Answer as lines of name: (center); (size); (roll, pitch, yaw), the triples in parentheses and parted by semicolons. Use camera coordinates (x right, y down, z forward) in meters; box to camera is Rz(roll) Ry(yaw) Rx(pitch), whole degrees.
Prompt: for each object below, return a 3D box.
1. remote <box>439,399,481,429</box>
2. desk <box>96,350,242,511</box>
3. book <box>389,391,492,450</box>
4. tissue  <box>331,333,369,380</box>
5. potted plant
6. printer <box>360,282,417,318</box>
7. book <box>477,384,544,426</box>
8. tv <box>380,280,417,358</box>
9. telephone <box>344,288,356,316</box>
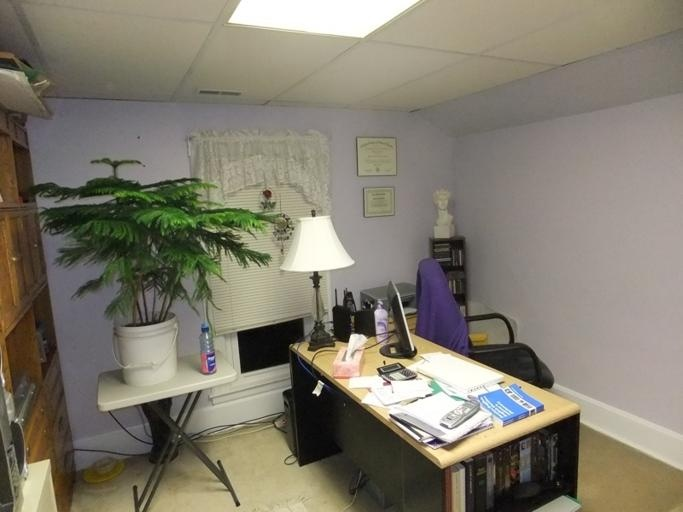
remote: (0.631, 0.824, 2.627); (0.090, 0.064, 0.312); (7, 19, 35)
desk: (-1.294, 1.261, 3.956); (1.225, 1.412, 0.909); (-2, 5, -28)
book: (0.523, 0.872, 2.675); (0.285, 0.069, 0.284); (-18, 24, -26)
tissue : (0.070, 0.689, 3.348); (0.160, 0.119, 0.287); (-2, 13, 15)
potted plant: (-1.493, 0.149, 3.580); (1.670, 1.580, 1.606); (-2, 17, -30)
printer: (0.471, 0.386, 4.845); (0.417, 0.216, 0.303); (-8, 11, -35)
book: (0.938, 0.830, 2.774); (0.189, 0.047, 0.193); (-11, 16, -20)
tv: (0.450, 0.517, 3.884); (0.243, 0.450, 0.450); (-3, 7, -8)
telephone: (0.066, 0.369, 3.919); (0.058, 0.239, 0.063); (-12, -36, 4)
